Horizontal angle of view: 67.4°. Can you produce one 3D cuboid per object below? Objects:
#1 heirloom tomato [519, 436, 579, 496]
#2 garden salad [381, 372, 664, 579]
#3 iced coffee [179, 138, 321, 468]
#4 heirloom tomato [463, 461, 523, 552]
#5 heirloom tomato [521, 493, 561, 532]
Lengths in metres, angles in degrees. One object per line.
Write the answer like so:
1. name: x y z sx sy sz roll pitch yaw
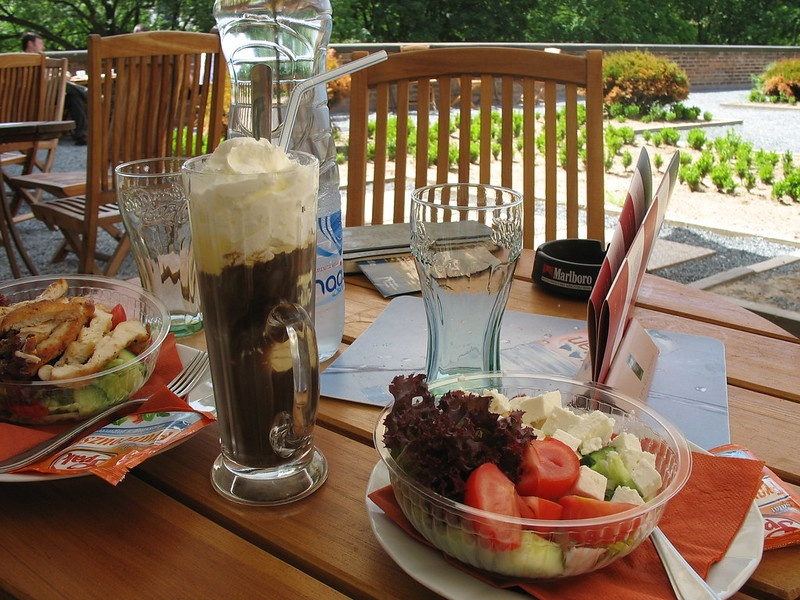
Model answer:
1. heirloom tomato: 0.132 0.150 0.522 0.050 0.041 0.070 4 10 -1
2. garden salad: 0.108 0.156 0.627 0.285 0.163 0.201 -4 12 -19
3. iced coffee: -0.123 0.004 0.632 0.136 0.335 0.149 -9 16 -26
4. heirloom tomato: 0.075 0.173 0.497 0.019 0.052 0.058 -29 36 35
5. heirloom tomato: 0.119 0.181 0.503 0.024 0.011 0.021 17 -2 25
